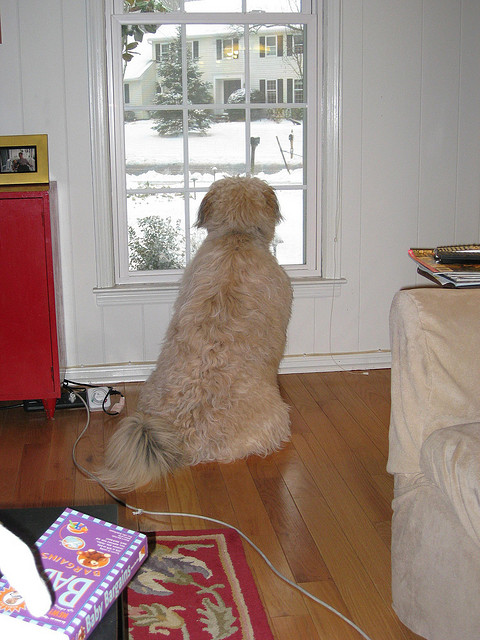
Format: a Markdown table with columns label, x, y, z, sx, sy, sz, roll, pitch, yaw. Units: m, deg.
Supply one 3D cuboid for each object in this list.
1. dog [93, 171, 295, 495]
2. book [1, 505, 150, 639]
| label | x | y | z | sx | sy | sz | roll | pitch | yaw |
| --- | --- | --- | --- | --- | --- | --- | --- | --- | --- |
| dog | -0.141 | 0.009 | 1.986 | 0.844 | 1.021 | 0.358 | -8 | 16 | -29 |
| book | -0.207 | 0.302 | 0.670 | 0.114 | 0.039 | 0.175 | 10 | 18 | 10 |
